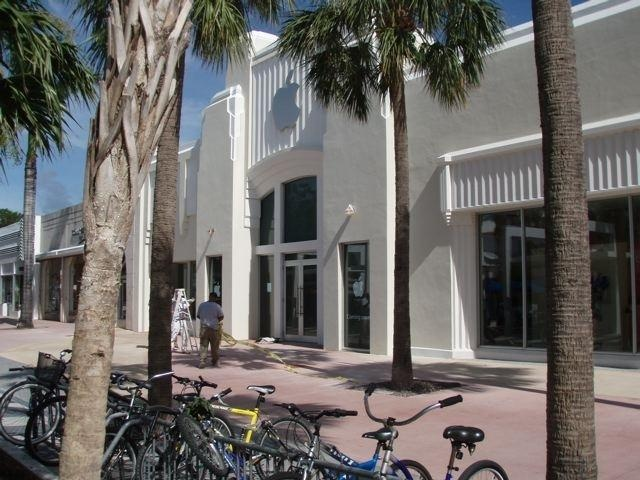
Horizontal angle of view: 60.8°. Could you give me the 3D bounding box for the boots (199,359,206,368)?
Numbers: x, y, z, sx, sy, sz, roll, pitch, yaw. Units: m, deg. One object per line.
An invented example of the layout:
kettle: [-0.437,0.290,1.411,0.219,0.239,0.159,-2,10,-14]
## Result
boots: [-2.954,3.115,13.763,0.175,0.307,0.177,10,-25,-25]

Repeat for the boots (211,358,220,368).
boots: [-2.678,3.174,14.112,0.252,0.277,0.135,-8,-11,42]
